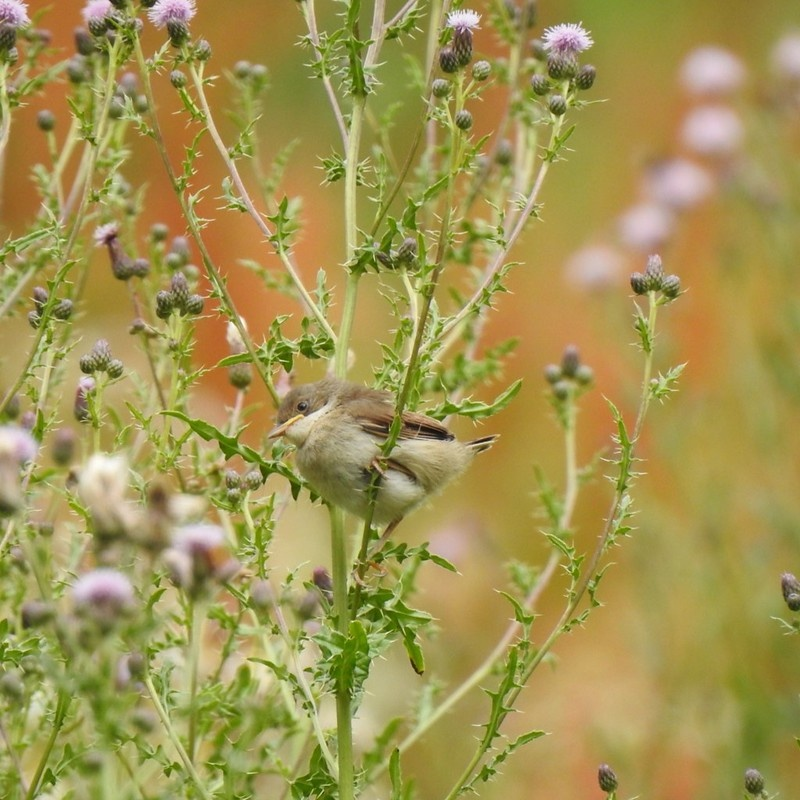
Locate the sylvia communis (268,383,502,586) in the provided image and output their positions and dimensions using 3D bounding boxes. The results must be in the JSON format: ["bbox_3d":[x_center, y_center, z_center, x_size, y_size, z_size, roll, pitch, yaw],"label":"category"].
[{"bbox_3d":[-0.083,0.148,3.719,0.790,0.631,0.425,-10,-15,4],"label":"sylvia communis"}]
